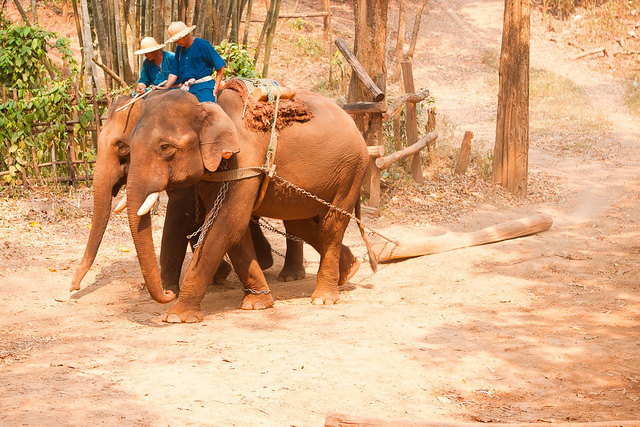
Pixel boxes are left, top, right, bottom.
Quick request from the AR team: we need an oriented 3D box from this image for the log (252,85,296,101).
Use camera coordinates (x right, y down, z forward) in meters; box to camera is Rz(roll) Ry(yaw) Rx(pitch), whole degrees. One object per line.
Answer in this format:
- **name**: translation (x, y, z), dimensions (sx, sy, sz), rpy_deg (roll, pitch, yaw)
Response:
- **log**: translation (-0.511, -1.370, 9.196), dimensions (0.526, 0.157, 0.195), rpy_deg (-4, 14, -33)

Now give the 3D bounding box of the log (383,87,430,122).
- **log**: translation (1.610, -1.972, 14.270), dimensions (0.362, 0.294, 2.356), rpy_deg (-12, 7, 25)

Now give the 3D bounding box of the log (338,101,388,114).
- **log**: translation (0.760, -1.703, 12.918), dimensions (0.455, 0.094, 0.405), rpy_deg (1, 4, 32)

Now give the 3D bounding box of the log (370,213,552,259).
- **log**: translation (1.997, 0.353, 11.419), dimensions (2.111, 0.194, 0.383), rpy_deg (-8, 4, -7)

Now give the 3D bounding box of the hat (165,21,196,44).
- **hat**: translation (-1.656, -2.136, 9.467), dimensions (0.293, 0.234, 0.507), rpy_deg (-2, 16, -8)

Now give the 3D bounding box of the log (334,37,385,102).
- **log**: translation (0.623, -2.482, 13.460), dimensions (0.282, 0.374, 1.838), rpy_deg (6, 39, -42)

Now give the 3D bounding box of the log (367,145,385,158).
- **log**: translation (0.873, -0.971, 12.568), dimensions (0.229, 0.127, 0.342), rpy_deg (-8, 3, -15)

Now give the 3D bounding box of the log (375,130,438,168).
- **log**: translation (1.486, -1.050, 13.549), dimensions (1.766, 0.186, 0.164), rpy_deg (-29, 4, -41)

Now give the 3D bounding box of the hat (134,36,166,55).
- **hat**: translation (-2.051, -2.013, 9.616), dimensions (0.310, 0.110, 0.283), rpy_deg (0, 29, 35)

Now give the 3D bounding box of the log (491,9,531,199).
- **log**: translation (3.461, -1.954, 14.096), dimensions (0.660, 3.174, 1.157), rpy_deg (5, 19, 11)
